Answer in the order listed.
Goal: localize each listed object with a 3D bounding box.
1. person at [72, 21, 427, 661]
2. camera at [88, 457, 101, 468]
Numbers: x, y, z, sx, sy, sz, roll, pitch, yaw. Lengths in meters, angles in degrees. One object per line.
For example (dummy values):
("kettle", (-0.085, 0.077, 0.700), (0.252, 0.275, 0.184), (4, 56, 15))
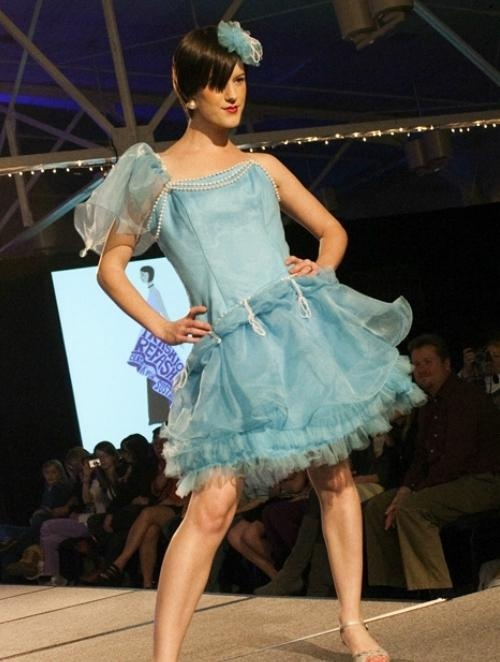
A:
("person", (-0.008, -0.066, 1.250), (0.704, 1.162, 0.386), (-13, -3, -14))
("camera", (-0.873, 0.736, 3.426), (0.055, 0.062, 0.017), (1, 7, 10))
